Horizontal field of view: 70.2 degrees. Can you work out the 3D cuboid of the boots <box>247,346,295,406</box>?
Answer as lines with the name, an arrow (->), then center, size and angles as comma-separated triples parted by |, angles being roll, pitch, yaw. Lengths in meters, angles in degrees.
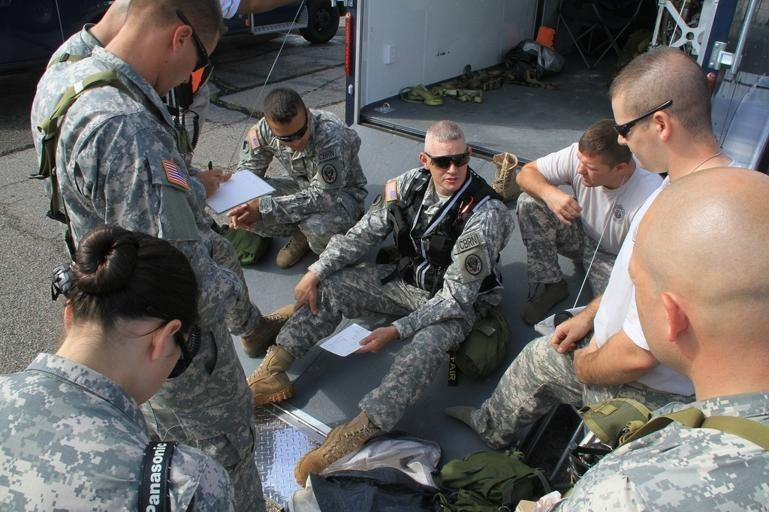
boots -> -0.745, 0.712, 3.199 | 0.395, 0.288, 0.168 | -5, 6, -19

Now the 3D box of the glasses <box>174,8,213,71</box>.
glasses -> -0.773, -0.935, 2.320 | 0.043, 0.157, 0.157 | -38, 14, -21

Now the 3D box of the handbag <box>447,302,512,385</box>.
handbag -> 0.557, 0.523, 3.239 | 0.439, 0.173, 0.333 | -28, 45, 3

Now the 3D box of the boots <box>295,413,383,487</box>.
boots -> -0.129, 0.935, 2.794 | 0.600, 0.269, 0.193 | -1, 20, 32

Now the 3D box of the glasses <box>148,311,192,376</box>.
glasses -> -0.697, 0.293, 1.829 | 0.150, 0.203, 0.072 | 22, -10, -16

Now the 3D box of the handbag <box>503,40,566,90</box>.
handbag -> 1.938, -2.563, 7.296 | 0.785, 0.349, 0.831 | 19, 34, 25
